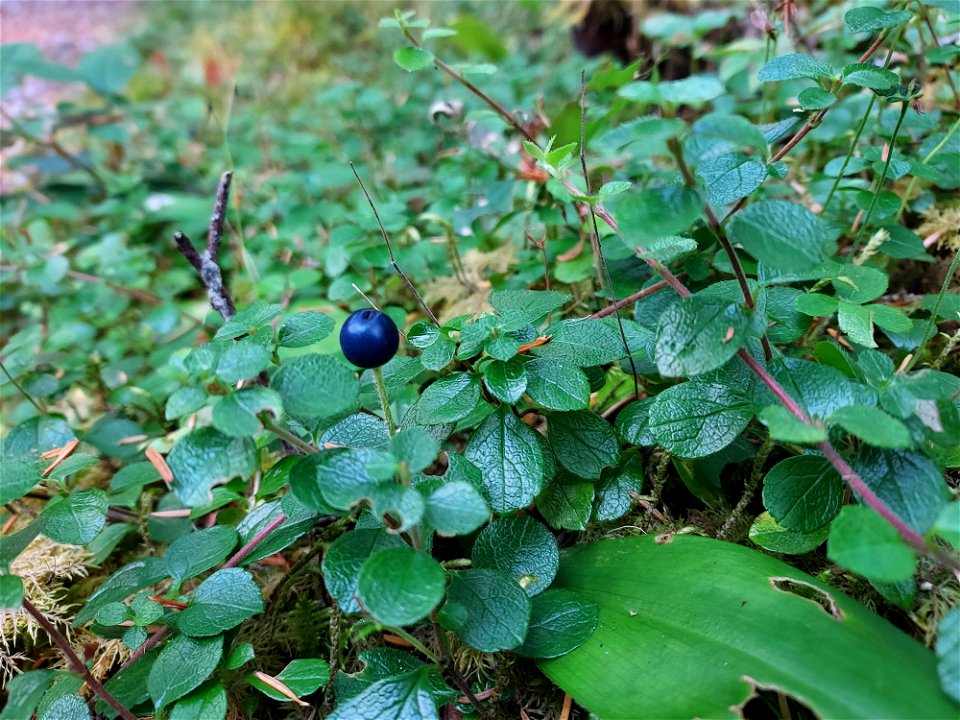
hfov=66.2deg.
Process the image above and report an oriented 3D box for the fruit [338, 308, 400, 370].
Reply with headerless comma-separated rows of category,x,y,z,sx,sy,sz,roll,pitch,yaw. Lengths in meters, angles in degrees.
fruit,-0.238,-0.047,1.567,0.121,0.131,0.117,-19,36,-33
